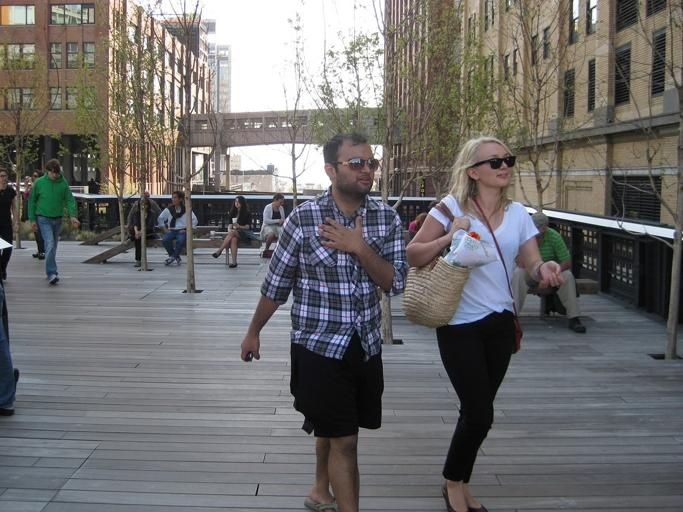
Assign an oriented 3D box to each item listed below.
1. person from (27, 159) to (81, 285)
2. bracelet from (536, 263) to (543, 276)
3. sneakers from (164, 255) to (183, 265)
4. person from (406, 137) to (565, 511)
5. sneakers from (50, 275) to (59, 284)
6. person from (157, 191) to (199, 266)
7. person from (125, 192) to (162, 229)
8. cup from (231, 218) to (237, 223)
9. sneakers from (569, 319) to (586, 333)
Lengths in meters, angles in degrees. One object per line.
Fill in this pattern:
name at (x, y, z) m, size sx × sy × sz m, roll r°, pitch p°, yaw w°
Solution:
person at (-5.189, -0.691, 12.012) m, size 0.920 × 2.338 × 0.616 m, roll 5°, pitch 8°, yaw 39°
bracelet at (1.155, 0.066, 3.880) m, size 0.054 × 0.059 × 0.057 m, roll -3°, pitch 3°, yaw 13°
sneakers at (-3.997, 0.028, 15.864) m, size 0.176 × 0.229 × 0.510 m, roll 1°, pitch -3°, yaw 28°
person at (0.815, 0.395, 3.948) m, size 0.887 × 2.297 × 0.528 m, roll 0°, pitch 6°, yaw -1°
sneakers at (-5.267, 0.379, 12.161) m, size 0.129 × 0.160 × 0.353 m, roll 3°, pitch -4°, yaw -27°
person at (-4.034, -0.797, 15.903) m, size 0.613 × 1.766 × 1.322 m, roll -1°, pitch 6°, yaw -16°
person at (-4.879, -1.201, 16.413) m, size 0.828 × 1.166 × 1.202 m, roll 3°, pitch 8°, yaw -14°
cup at (-2.542, -0.948, 15.801) m, size 0.113 × 0.091 × 0.116 m, roll 0°, pitch 2°, yaw 0°
sneakers at (3.111, 0.887, 8.669) m, size 0.174 × 0.160 × 0.267 m, roll 1°, pitch 7°, yaw 3°
